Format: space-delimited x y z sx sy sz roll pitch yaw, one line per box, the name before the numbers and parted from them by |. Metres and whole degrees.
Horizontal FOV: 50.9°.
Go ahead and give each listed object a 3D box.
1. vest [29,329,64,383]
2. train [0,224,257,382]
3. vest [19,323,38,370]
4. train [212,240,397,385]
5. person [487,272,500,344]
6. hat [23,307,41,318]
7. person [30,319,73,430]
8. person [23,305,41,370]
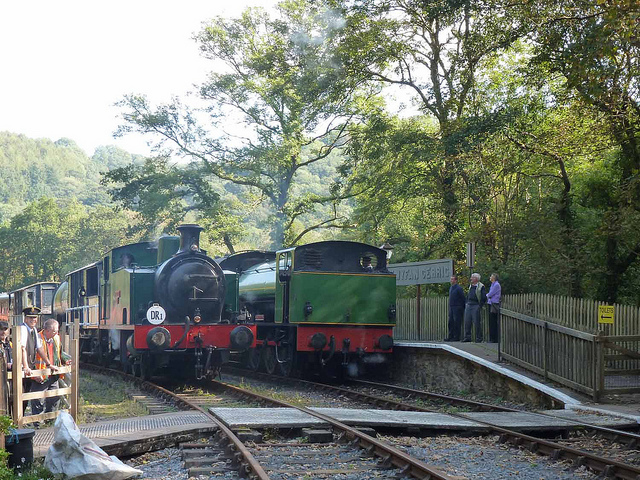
vest | -4.955 2.065 12.230 0.295 0.921 0.550 2 2 43
train | -7.226 2.292 24.861 3.433 4.591 16.519 2 -4 -23
vest | -5.219 1.891 12.064 0.255 0.786 0.155 0 -2 -22
train | -1.060 2.405 23.111 3.302 4.026 10.431 4 -8 -22
person | 4.980 1.946 19.180 0.332 1.962 1.256 -1 -3 14
hat | -5.321 1.309 12.335 0.214 0.124 0.241 4 -12 -29
person | -5.022 2.496 12.465 0.683 2.058 1.568 1 -3 -24
person | -5.413 1.779 12.543 0.273 1.075 1.914 0 -4 -23
